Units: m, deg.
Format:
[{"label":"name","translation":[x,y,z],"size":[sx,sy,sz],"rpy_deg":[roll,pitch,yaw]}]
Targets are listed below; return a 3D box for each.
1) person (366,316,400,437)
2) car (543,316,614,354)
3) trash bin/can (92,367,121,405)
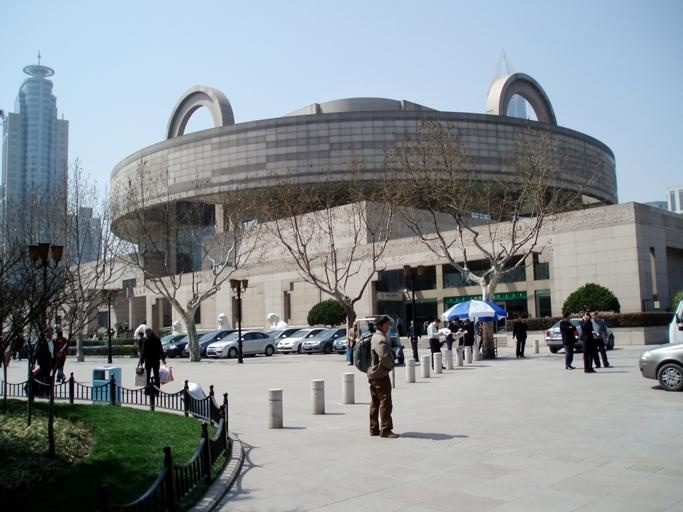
[{"label":"person","translation":[0.915,2.611,16.765],"size":[0.652,2.613,0.937],"rpy_deg":[3,-9,-17]},{"label":"car","translation":[11.400,3.698,36.550],"size":[1.825,1.837,4.492],"rpy_deg":[-7,-5,42]},{"label":"trash bin/can","translation":[-6.655,3.721,22.007],"size":[0.575,1.153,0.579],"rpy_deg":[-3,9,10]}]
